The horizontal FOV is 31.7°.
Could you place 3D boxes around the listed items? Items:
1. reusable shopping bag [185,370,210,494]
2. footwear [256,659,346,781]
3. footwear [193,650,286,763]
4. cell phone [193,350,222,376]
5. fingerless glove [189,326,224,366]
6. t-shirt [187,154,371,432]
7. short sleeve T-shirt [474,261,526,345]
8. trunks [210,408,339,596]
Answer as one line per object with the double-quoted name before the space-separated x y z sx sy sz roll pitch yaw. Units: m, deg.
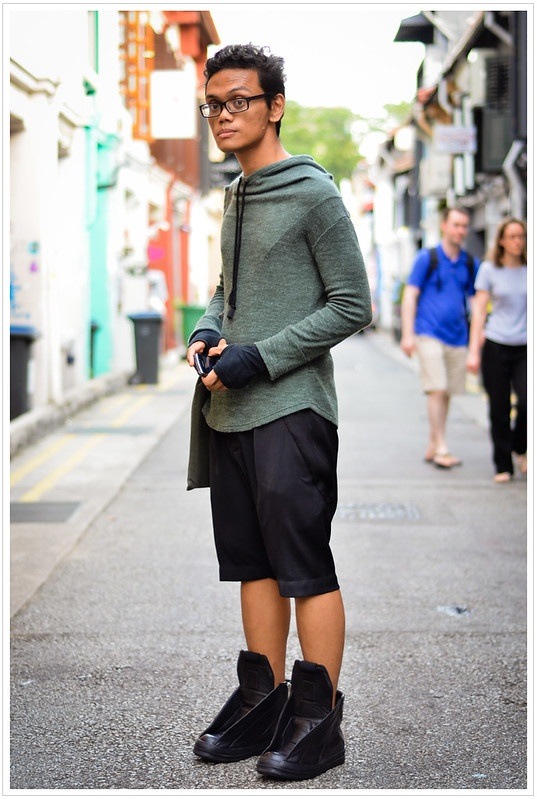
"reusable shopping bag" -0.194 0.109 2.558 0.085 0.294 0.033 1 -1 -40
"footwear" 0.094 0.797 2.353 0.136 0.266 0.283 -6 -12 44
"footwear" -0.040 0.795 2.463 0.130 0.254 0.365 0 -7 45
"cell phone" -0.149 -0.086 2.317 0.059 0.019 0.058 -17 49 -8
"fingerless glove" -0.158 -0.132 2.383 0.075 0.094 0.046 5 0 -40
"t-shirt" 0.026 -0.257 2.392 0.482 0.691 0.337 0 5 13
"short sleeve T-shirt" 1.654 -0.672 6.694 0.340 0.598 0.227 0 5 10
"trunks" 0.009 0.261 2.392 0.332 0.472 0.263 0 5 2
